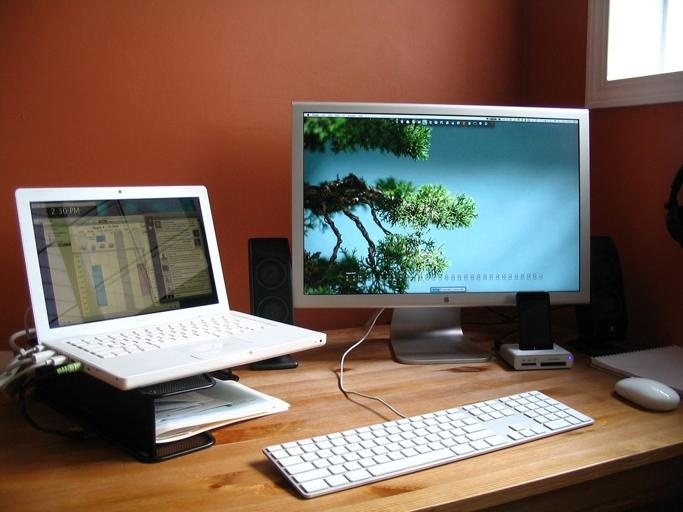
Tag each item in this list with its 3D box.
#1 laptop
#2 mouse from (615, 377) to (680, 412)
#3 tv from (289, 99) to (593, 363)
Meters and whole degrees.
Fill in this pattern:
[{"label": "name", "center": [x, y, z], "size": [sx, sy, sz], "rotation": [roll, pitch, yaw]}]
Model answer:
[{"label": "laptop", "center": [-0.361, 0.030, 1.163], "size": [0.477, 0.299, 0.465], "rotation": [10, 10, 38]}, {"label": "mouse", "center": [0.649, 0.289, 1.161], "size": [0.064, 0.028, 0.092], "rotation": [-5, 16, -27]}, {"label": "tv", "center": [0.252, -0.056, 1.474], "size": [0.823, 0.650, 0.217], "rotation": [-1, 6, -16]}]
